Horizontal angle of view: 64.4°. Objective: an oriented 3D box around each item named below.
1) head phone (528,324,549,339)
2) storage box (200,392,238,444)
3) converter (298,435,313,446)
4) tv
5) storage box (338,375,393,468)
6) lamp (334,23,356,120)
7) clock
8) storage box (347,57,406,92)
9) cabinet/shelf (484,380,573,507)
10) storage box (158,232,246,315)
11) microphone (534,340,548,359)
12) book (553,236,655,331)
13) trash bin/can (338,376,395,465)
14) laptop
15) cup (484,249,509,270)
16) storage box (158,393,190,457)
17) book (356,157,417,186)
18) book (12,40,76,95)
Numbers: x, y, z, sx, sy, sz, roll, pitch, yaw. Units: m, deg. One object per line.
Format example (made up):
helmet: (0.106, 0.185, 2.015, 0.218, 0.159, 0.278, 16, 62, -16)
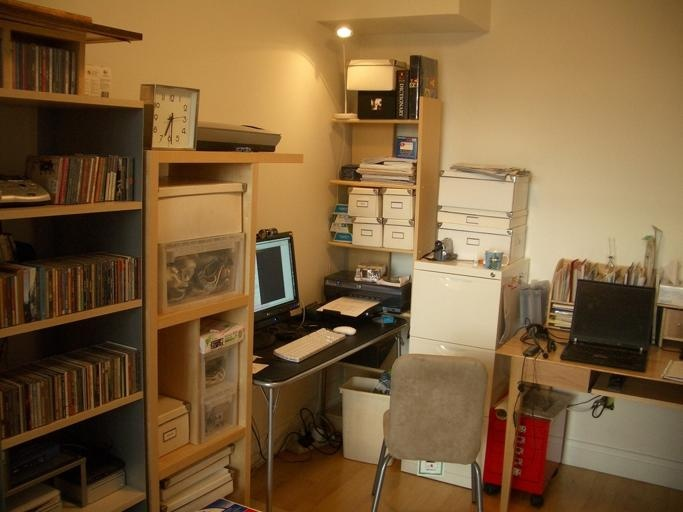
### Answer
head phone: (1.177, 0.452, 3.231, 0.084, 0.074, 0.096, 3, -9, -38)
storage box: (-0.548, 0.719, 2.481, 0.142, 0.197, 0.207, 2, 6, 29)
converter: (-0.235, 1.244, 3.655, 0.060, 0.014, 0.058, 8, 15, 32)
tv: (-0.389, 0.157, 3.164, 0.069, 0.504, 0.514, -4, 4, 24)
storage box: (0.165, 1.030, 3.619, 0.461, 0.567, 0.446, 4, 12, 13)
lamp: (0.022, -1.237, 3.686, 0.164, 0.623, 0.159, 0, 11, 6)
clock: (-0.684, -0.532, 2.094, 0.095, 0.232, 0.255, 15, 17, 21)
storage box: (0.209, -1.161, 3.505, 0.321, 0.160, 0.238, 7, 11, 32)
cabinet/shelf: (1.138, 1.136, 3.516, 0.489, 0.786, 0.819, 4, 6, 27)
storage box: (-0.582, 0.056, 2.281, 0.258, 0.312, 0.465, 7, 11, 37)
microphone: (1.119, 0.529, 3.040, 0.065, 0.069, 0.025, 0, -18, 28)
book: (1.585, 0.182, 3.227, 0.501, 0.502, 0.280, 7, -2, 28)
trash bin/can: (0.180, 1.018, 3.623, 0.462, 0.567, 0.446, 4, 12, 12)
laptop: (1.543, 0.361, 3.094, 0.555, 0.547, 0.448, 9, 0, 25)
cup: (0.918, 0.023, 3.219, 0.129, 0.098, 0.180, 7, 9, 19)
storage box: (-0.748, 0.727, 2.340, 0.160, 0.200, 0.160, -4, 12, -43)
book: (0.304, -0.567, 3.594, 0.404, 0.162, 0.204, 6, 9, 15)
book: (-0.983, -0.619, 1.800, 0.192, 0.151, 0.019, -4, 11, -40)
